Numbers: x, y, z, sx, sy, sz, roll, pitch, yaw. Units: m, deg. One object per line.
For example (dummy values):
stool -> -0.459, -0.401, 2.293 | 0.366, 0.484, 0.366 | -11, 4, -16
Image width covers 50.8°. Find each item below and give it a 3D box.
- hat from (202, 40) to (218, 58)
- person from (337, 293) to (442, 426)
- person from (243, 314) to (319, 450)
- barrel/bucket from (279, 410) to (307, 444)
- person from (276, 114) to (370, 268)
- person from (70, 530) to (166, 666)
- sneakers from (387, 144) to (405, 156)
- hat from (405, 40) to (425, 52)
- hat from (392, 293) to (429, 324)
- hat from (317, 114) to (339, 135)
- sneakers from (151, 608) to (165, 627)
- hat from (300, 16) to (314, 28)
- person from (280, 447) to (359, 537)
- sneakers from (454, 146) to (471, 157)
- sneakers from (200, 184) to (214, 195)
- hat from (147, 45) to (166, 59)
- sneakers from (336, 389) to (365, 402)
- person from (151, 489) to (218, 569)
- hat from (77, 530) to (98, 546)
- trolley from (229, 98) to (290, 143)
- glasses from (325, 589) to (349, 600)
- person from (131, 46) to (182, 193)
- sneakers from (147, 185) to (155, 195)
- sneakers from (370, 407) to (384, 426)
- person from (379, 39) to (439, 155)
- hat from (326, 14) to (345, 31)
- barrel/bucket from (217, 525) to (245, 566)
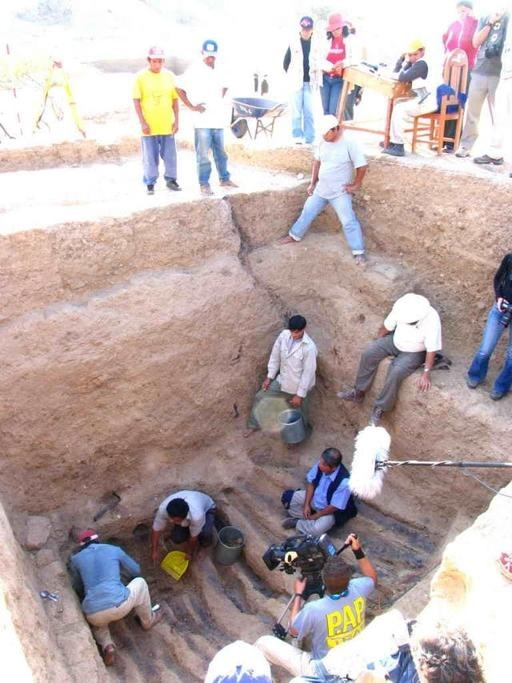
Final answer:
hat -> -0.443, -2.842, 5.232 | 0.142, 0.170, 0.166 | -2, 43, -3
person -> 1.235, 0.124, 4.607 | 0.711, 1.043, 0.663 | -27, 45, -30
person -> 0.261, 0.382, 5.246 | 0.737, 1.276, 0.514 | -9, 33, -13
barrel/bucket -> 0.362, 0.866, 5.259 | 0.328, 0.336, 0.306 | -7, 39, 5
person -> 0.729, -1.494, 5.230 | 0.473, 1.302, 0.876 | -13, 34, -23
person -> -1.062, 2.007, 4.181 | 0.592, 0.908, 0.926 | -13, 34, -23
sneakers -> 1.481, -2.021, 5.697 | 0.168, 0.112, 0.056 | 34, 57, 25
hat -> 1.627, -3.001, 5.480 | 0.160, 0.123, 0.168 | 8, 31, 10
hat -> 1.293, -0.241, 4.478 | 0.200, 0.232, 0.292 | -6, 31, -14
hat -> 0.650, -1.956, 4.893 | 0.183, 0.171, 0.191 | 10, 31, 13
sneakers -> -0.799, 2.207, 4.325 | 0.057, 0.114, 0.159 | 15, 41, 12
hat -> 0.548, -3.463, 5.846 | 0.135, 0.112, 0.181 | 3, 30, 2
person -> 0.531, 1.304, 4.567 | 0.636, 0.775, 0.517 | 4, 25, 3
sneakers -> 2.193, -1.997, 5.719 | 0.124, 0.078, 0.149 | -37, 43, -7
sneakers -> -0.493, -1.525, 5.437 | 0.081, 0.077, 0.163 | -16, 36, -23
hat -> -0.927, -2.662, 4.966 | 0.150, 0.101, 0.186 | -3, 30, -9
sneakers -> 0.908, 0.521, 5.059 | 0.289, 0.089, 0.132 | 2, -3, 38
person -> -0.642, 1.616, 4.774 | 0.592, 0.963, 0.533 | -2, 32, -7
hat -> -1.376, 1.615, 4.383 | 0.137, 0.155, 0.148 | 1, 44, -10
trolley -> -0.004, -3.228, 7.946 | 0.906, 0.446, 0.467 | 18, 23, 32
glasses -> 0.458, 1.435, 3.068 | 0.075, 0.027, 0.093 | -7, 2, -8
person -> -0.964, -2.129, 5.252 | 0.416, 1.304, 0.497 | -2, 32, -7
sneakers -> -1.054, -1.521, 5.406 | 0.044, 0.087, 0.122 | -1, 34, -9
sneakers -> 1.065, 0.669, 4.770 | 0.082, 0.221, 0.090 | 13, 3, 0
person -> 1.637, -2.516, 5.594 | 0.474, 1.078, 0.596 | 9, 32, 12
hat -> 0.921, -3.704, 6.252 | 0.186, 0.180, 0.266 | 5, 30, 5
barrel/bucket -> -0.235, 1.836, 4.775 | 0.248, 0.329, 0.208 | 0, 31, -3
